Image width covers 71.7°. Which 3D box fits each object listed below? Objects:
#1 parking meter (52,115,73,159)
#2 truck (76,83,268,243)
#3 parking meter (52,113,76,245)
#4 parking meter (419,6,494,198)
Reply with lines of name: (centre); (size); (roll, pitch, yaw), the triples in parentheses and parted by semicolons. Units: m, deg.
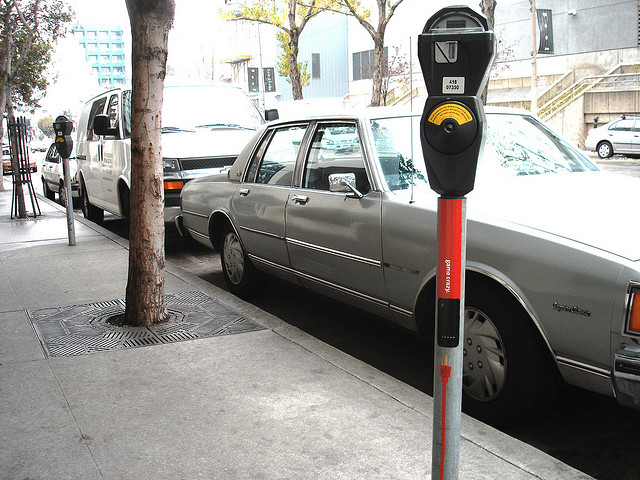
parking meter: (-5.260, -2.119, 9.032); (0.312, 0.919, 0.797); (-7, 11, -32)
truck: (-3.648, -2.016, 10.122); (3.106, 2.676, 5.407); (-7, 7, -39)
parking meter: (-5.286, -1.208, 9.239); (0.535, 2.733, 0.380); (8, 12, 31)
parking meter: (0.435, -0.440, 1.433); (0.226, 0.600, 0.104); (3, 10, 22)
